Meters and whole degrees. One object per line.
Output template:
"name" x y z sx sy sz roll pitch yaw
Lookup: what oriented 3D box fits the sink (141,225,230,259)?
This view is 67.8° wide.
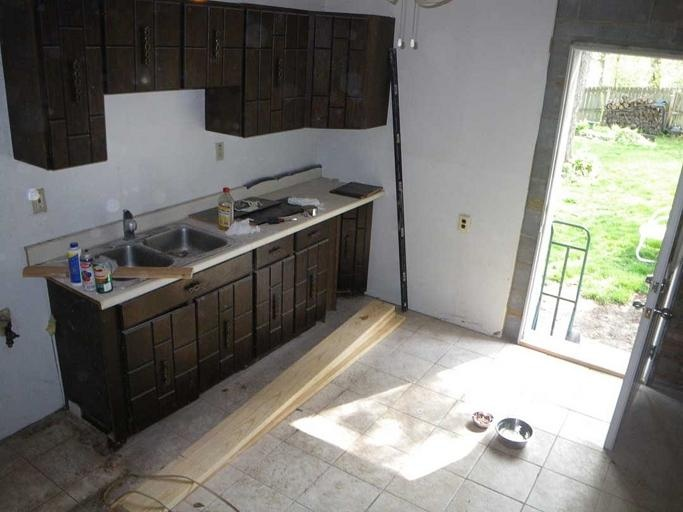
"sink" -1.180 -0.128 3.619 0.295 0.144 0.373 24 32 28

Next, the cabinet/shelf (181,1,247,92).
"cabinet/shelf" -0.856 -1.411 3.366 0.193 0.513 0.502 22 33 32

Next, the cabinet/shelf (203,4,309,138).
"cabinet/shelf" -0.648 -1.366 3.700 0.313 0.870 0.820 21 30 37

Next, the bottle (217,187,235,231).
"bottle" -0.860 -0.363 3.742 0.122 0.305 0.212 -3 22 -13

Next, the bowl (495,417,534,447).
"bowl" 1.190 1.226 3.528 0.238 0.086 0.252 2 22 -1

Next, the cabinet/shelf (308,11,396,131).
"cabinet/shelf" 0.063 -1.553 4.182 0.667 1.066 0.540 8 23 17

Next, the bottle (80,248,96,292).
"bottle" -1.499 0.085 2.992 0.074 0.198 0.151 -10 24 -28

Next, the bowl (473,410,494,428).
"bowl" 1.009 1.164 3.644 0.130 0.048 0.173 21 29 38

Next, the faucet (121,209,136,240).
"faucet" -1.447 -0.220 3.465 0.087 0.202 0.086 -8 23 -23

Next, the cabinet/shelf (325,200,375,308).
"cabinet/shelf" 0.045 -0.016 4.739 0.252 0.953 0.624 13 24 29
